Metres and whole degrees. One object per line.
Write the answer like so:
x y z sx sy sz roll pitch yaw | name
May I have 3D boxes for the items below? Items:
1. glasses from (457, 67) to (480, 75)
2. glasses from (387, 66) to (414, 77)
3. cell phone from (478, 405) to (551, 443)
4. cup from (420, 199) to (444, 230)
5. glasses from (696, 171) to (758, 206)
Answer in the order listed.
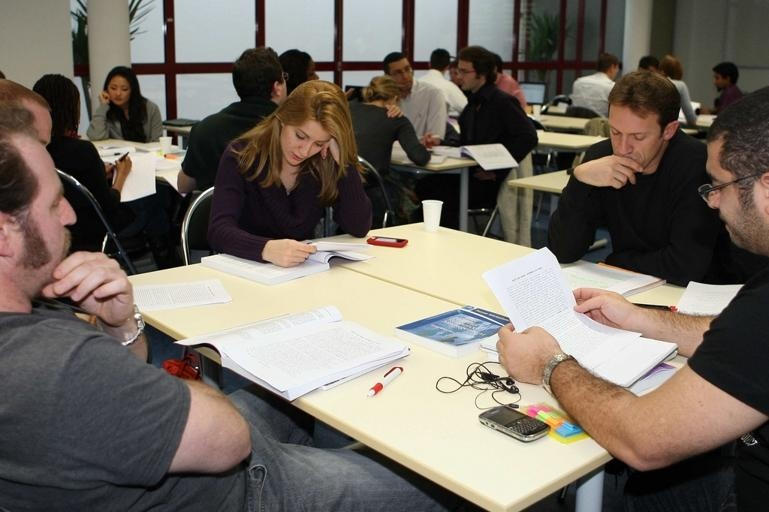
0.717 -1.588 4.794 0.104 0.033 0.100 0 12 -38 | glasses
0.132 -1.842 5.665 0.152 0.108 0.199 -12 10 -19 | glasses
0.300 0.374 1.293 0.069 0.020 0.115 -11 18 -43 | cell phone
0.226 -0.196 2.724 0.137 0.150 0.139 2 13 0 | cup
0.858 -0.172 1.387 0.098 0.032 0.095 -23 -6 19 | glasses
